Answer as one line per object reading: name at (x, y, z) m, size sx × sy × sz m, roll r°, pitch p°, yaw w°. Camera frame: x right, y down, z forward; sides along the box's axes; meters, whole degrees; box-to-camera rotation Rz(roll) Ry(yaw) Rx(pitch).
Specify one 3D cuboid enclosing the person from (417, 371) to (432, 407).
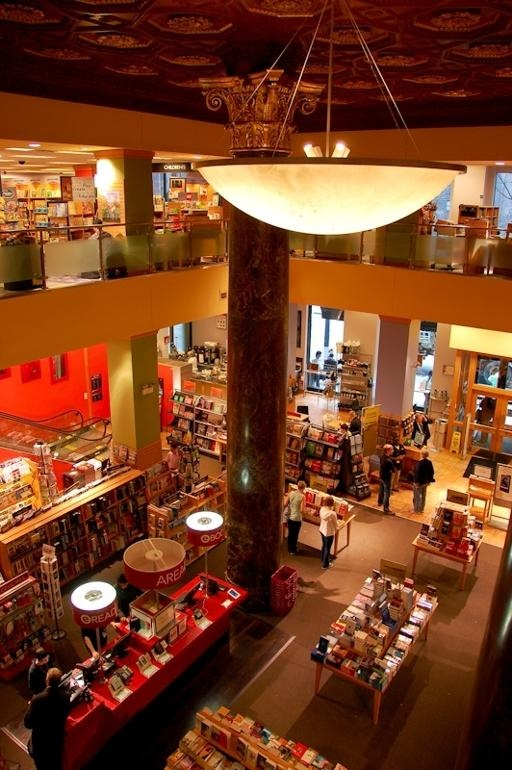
person at (4.873, 0.123, 14.821) m, size 0.469 × 0.457 × 0.902 m, roll 8°, pitch 22°, yaw 17°

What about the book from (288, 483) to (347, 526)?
book at (1.041, 2.128, 9.018) m, size 0.836 × 0.570 × 0.496 m, roll 21°, pitch 35°, yaw 33°

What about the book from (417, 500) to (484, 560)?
book at (3.122, 2.377, 8.199) m, size 0.751 × 0.369 × 1.052 m, roll 8°, pitch 12°, yaw 28°

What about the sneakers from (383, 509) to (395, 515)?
sneakers at (2.676, 2.539, 10.344) m, size 0.242 × 0.175 × 0.088 m, roll 1°, pitch 13°, yaw 16°
